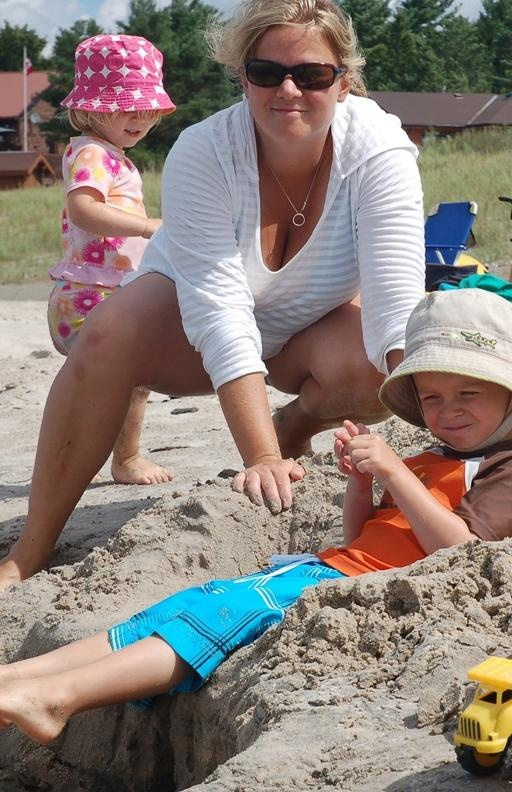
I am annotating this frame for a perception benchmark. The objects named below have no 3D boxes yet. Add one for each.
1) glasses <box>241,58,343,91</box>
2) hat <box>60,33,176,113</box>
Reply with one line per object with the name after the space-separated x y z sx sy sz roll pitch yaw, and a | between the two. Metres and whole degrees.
0.103 -0.821 2.219 0.255 0.086 0.113 0 10 -1 | glasses
-0.607 -1.448 3.799 0.530 0.284 0.520 -2 26 -14 | hat
